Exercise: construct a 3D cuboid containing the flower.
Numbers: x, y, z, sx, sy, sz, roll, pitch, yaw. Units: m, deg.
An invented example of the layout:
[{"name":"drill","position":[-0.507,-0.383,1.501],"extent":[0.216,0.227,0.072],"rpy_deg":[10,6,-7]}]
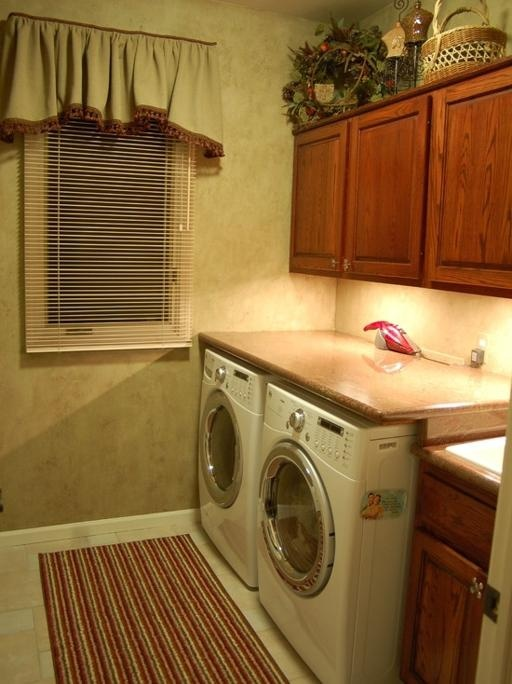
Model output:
[{"name":"flower","position":[0.409,-1.325,2.571],"extent":[0.203,0.676,0.551],"rpy_deg":[3,5,-45]}]
